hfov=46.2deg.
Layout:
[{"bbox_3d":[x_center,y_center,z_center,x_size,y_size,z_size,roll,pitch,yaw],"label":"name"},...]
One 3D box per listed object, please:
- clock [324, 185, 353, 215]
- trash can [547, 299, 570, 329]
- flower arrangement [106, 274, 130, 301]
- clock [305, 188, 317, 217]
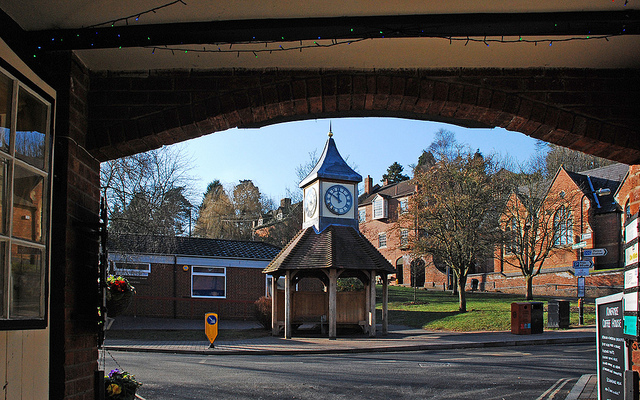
[{"bbox_3d":[0.690,0.034,31.148,1.194,1.266,0.093,1,-9,-37],"label":"clock"},{"bbox_3d":[9.755,4.685,30.707,0.728,1.186,0.723,-7,-8,40],"label":"trash can"},{"bbox_3d":[-3.752,1.578,13.737,0.389,0.408,0.429,0,20,0],"label":"flower arrangement"},{"bbox_3d":[-0.396,0.141,31.657,0.060,1.189,1.150,6,-5,-15],"label":"clock"}]
